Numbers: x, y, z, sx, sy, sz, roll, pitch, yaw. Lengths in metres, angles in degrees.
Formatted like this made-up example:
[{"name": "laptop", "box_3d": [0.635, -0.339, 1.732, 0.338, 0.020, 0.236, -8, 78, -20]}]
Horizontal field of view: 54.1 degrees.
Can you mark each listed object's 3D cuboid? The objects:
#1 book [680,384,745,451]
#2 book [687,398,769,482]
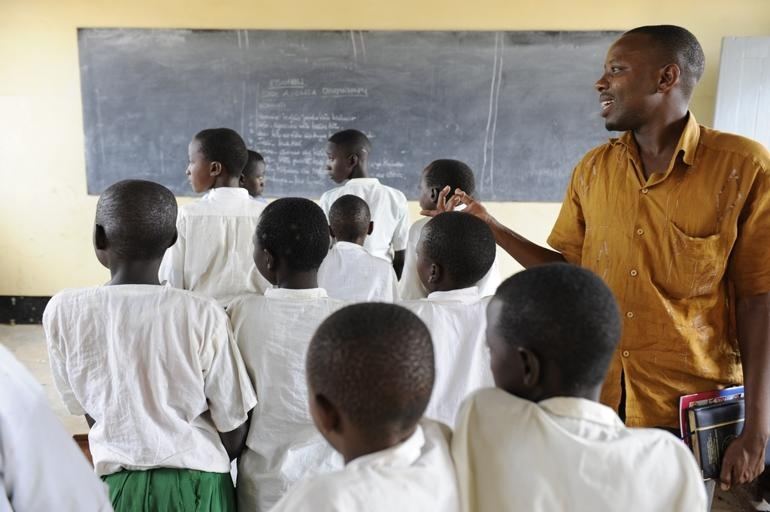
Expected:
[{"name": "book", "box_3d": [1.156, 0.569, 2.668, 0.224, 0.187, 0.055, -8, 0, -15]}, {"name": "book", "box_3d": [1.187, 0.640, 2.619, 0.264, 0.251, 0.092, -16, 9, -28]}]
